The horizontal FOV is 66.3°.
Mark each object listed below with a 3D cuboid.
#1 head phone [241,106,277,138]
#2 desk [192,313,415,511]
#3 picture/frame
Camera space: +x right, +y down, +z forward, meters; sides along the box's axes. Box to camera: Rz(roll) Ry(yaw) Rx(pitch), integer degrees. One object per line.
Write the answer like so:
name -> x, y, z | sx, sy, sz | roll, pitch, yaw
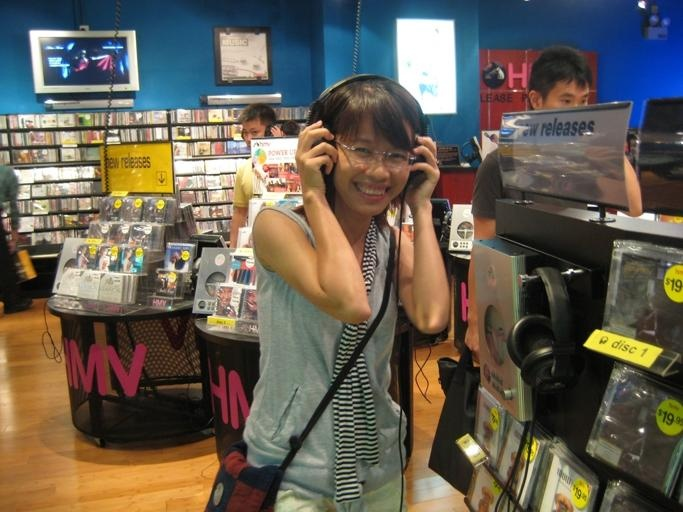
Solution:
head phone -> -0.725, -1.155, 4.503 | 0.233, 0.306, 0.302 | 3, 11, 23
desk -> -0.256, 0.779, 3.193 | 0.914, 0.936, 0.960 | -1, 5, -4
picture/frame -> -1.762, -3.502, 8.991 | 0.971, 0.944, 0.160 | -3, 9, -10
